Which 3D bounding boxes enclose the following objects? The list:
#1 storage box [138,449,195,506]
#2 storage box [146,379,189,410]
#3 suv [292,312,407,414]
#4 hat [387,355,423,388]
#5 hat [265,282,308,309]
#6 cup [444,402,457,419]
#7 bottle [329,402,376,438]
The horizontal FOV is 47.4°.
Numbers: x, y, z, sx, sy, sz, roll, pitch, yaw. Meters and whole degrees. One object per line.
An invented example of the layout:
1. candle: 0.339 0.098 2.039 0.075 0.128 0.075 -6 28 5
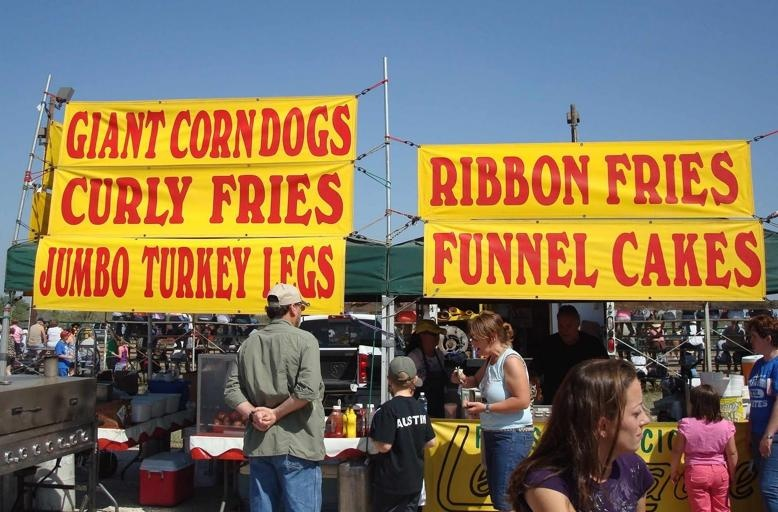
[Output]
1. storage box: -3.026 3.005 12.044 0.608 0.604 0.925 -1 -2 4
2. storage box: -3.240 2.021 12.901 0.464 0.200 0.447 3 3 -6
3. suv: -0.623 1.575 14.275 1.111 0.881 1.928 0 -1 7
4. hat: 0.178 1.341 10.241 0.374 0.321 0.242 0 -8 -10
5. hat: -1.132 0.442 9.678 0.230 0.181 0.367 2 3 44
6. cup: 0.786 2.010 11.415 0.188 0.199 0.185 0 2 0
7. bottle: -0.486 2.046 10.938 0.443 0.259 0.434 0 -14 0
